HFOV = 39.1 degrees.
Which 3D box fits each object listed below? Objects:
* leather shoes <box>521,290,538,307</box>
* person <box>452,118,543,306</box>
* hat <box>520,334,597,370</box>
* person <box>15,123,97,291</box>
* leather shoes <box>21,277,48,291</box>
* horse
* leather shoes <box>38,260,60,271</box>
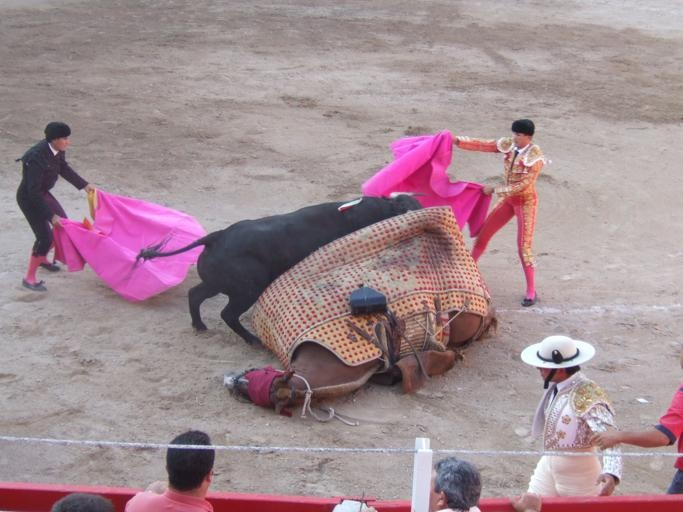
[{"bbox_3d":[2.162,0.485,10.989,0.105,0.082,0.248,12,27,34],"label":"leather shoes"},{"bbox_3d":[1.917,-0.560,10.993,0.969,1.961,1.225,-7,34,-13],"label":"person"},{"bbox_3d":[1.762,0.799,7.914,0.416,0.086,0.382,3,21,26],"label":"hat"},{"bbox_3d":[-3.264,-0.569,10.826,0.771,1.859,1.172,-2,33,-6],"label":"person"},{"bbox_3d":[-3.443,0.311,10.769,0.347,0.104,0.105,3,32,0],"label":"leather shoes"},{"bbox_3d":[0.239,1.071,9.692,2.947,0.687,0.928,-9,24,-21],"label":"horse"},{"bbox_3d":[-3.411,0.109,11.210,0.238,0.072,0.094,3,35,-3],"label":"leather shoes"}]
